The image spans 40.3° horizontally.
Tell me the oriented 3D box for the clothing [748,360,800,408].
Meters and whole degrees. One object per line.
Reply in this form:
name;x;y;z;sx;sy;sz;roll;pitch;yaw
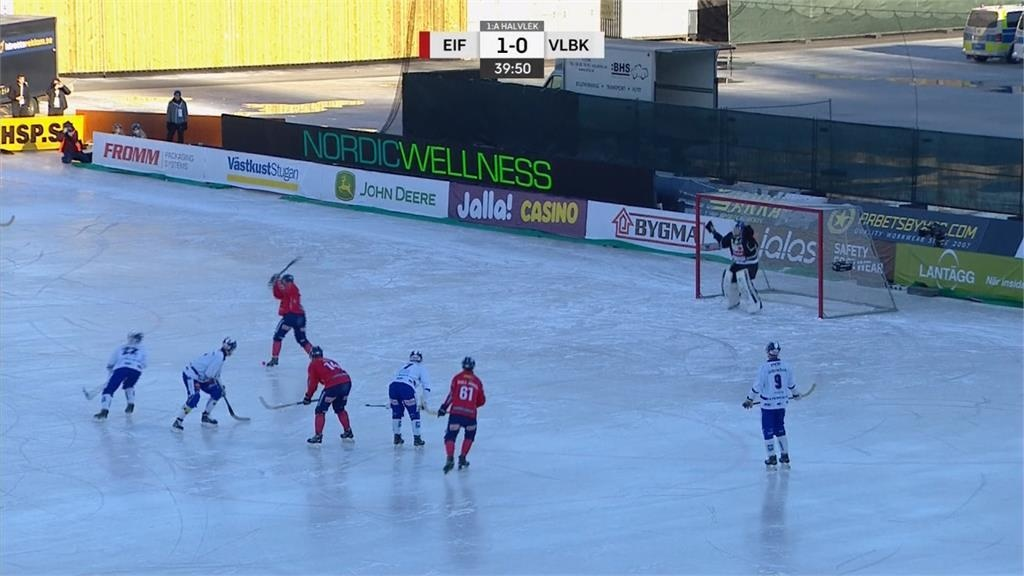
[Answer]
clothing;7.253;2.726;38.686;1.670;1.161;0.464;0;21;-2

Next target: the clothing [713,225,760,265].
clothing;7.582;-1.416;46.255;1.134;1.539;0.804;-7;12;15

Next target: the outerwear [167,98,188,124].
outerwear;-14.386;-7.586;59.983;0.778;1.068;0.754;-2;14;-9

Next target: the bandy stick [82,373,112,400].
bandy stick;-12.076;2.919;40.725;0.264;0.355;0.988;-38;-2;25

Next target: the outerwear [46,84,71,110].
outerwear;-21.153;-8.958;65.184;0.905;1.340;1.210;-6;15;-23

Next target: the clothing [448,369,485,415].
clothing;-1.231;2.919;38.189;1.510;1.359;0.852;2;9;-3

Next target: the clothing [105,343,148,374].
clothing;-11.092;1.904;40.034;1.380;0.676;1.170;2;28;1

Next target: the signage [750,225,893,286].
signage;10.389;-1.106;46.637;2.329;2.053;0.145;-5;-26;6
